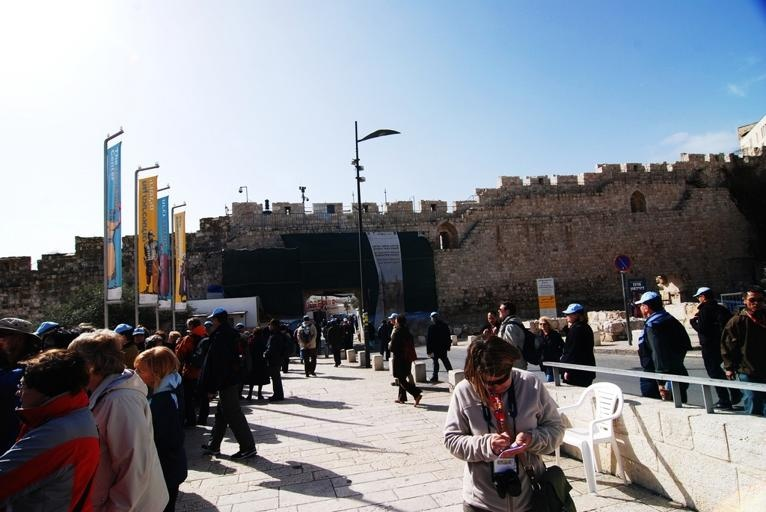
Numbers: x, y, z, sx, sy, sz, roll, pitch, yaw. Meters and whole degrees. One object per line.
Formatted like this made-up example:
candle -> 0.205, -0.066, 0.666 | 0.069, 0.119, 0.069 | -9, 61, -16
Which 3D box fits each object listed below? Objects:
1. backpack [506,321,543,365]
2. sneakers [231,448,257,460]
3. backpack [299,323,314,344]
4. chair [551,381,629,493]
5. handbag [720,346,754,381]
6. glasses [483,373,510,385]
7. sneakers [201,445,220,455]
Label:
backpack -> 1.820, 1.181, 8.326 | 0.686, 0.683, 0.433 | -1, 0, 14
sneakers -> -1.818, 2.600, 8.020 | 0.339, 0.139, 0.131 | 3, -6, -8
backpack -> -1.925, 1.947, 15.529 | 0.330, 0.477, 0.460 | 1, 34, 2
chair -> 2.300, 1.997, 6.805 | 0.644, 1.012, 0.765 | -4, -2, -12
handbag -> 4.103, 1.255, 7.120 | 0.234, 0.311, 0.173 | -30, -4, 2
glasses -> 0.924, 1.012, 4.970 | 0.214, 0.089, 0.060 | -3, -5, -2
sneakers -> -2.330, 2.620, 8.276 | 0.260, 0.106, 0.107 | 0, -11, 32
